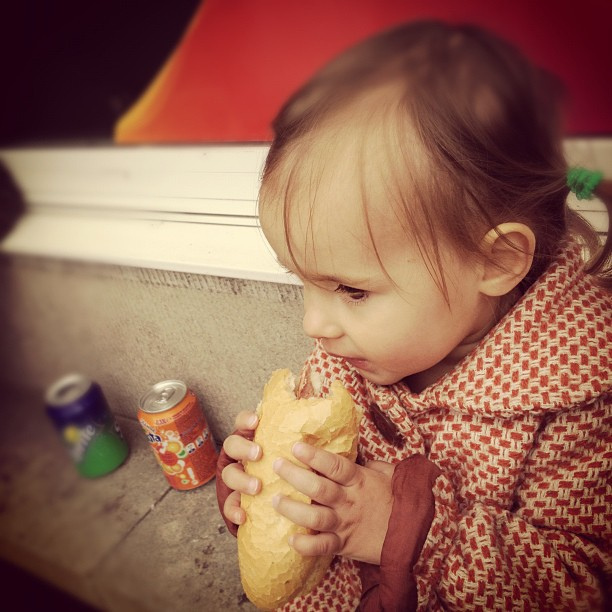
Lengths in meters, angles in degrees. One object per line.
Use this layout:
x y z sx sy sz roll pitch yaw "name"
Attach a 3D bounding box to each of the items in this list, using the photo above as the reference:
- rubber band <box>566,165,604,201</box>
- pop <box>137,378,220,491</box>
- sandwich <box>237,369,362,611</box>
0.338 -0.149 0.729 0.016 0.039 0.031 -37 70 -17 "rubber band"
-0.248 0.263 1.273 0.146 0.236 0.179 -17 25 -35 "pop"
0.015 0.245 0.866 0.138 0.311 0.172 11 0 -36 "sandwich"
